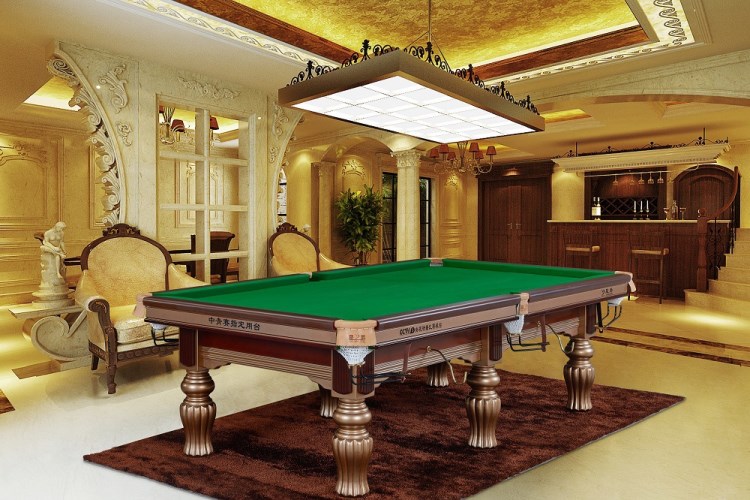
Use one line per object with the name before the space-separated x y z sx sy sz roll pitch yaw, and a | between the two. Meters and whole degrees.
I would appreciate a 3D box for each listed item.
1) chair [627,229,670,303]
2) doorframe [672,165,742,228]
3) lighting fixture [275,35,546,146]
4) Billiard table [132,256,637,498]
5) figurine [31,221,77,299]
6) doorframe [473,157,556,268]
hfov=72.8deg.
chair | 5.138 0.269 9.606 0.699 1.289 0.804 6 15 26
doorframe | 6.800 -1.080 10.486 1.195 1.335 0.166 1 -25 25
lighting fixture | 0.514 -1.444 4.992 1.289 0.305 2.366 -1 -2 44
Billiard table | 0.117 0.921 4.381 3.424 1.329 1.592 -7 14 -31
figurine | -3.625 0.127 5.678 0.382 0.846 0.445 -6 15 -22
doorframe | 3.556 -0.994 13.134 2.013 2.594 0.505 9 17 37
